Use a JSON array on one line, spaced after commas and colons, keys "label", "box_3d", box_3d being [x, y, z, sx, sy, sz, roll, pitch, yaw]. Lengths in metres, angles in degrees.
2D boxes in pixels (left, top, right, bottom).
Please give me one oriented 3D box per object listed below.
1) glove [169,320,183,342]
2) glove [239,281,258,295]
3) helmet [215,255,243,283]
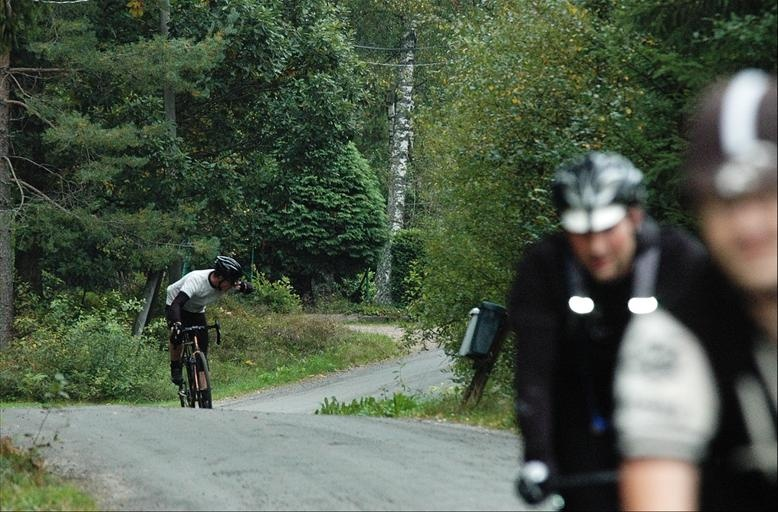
[{"label": "glove", "box_3d": [-3.369, 1.201, 15.699, 0.100, 0.292, 0.209, 9, -17, -18]}, {"label": "glove", "box_3d": [-2.276, 0.516, 15.979, 0.225, 0.151, 0.283, -3, -8, 22]}, {"label": "helmet", "box_3d": [-2.598, 0.215, 15.771, 0.451, 0.367, 0.360, 41, 4, -4]}]
